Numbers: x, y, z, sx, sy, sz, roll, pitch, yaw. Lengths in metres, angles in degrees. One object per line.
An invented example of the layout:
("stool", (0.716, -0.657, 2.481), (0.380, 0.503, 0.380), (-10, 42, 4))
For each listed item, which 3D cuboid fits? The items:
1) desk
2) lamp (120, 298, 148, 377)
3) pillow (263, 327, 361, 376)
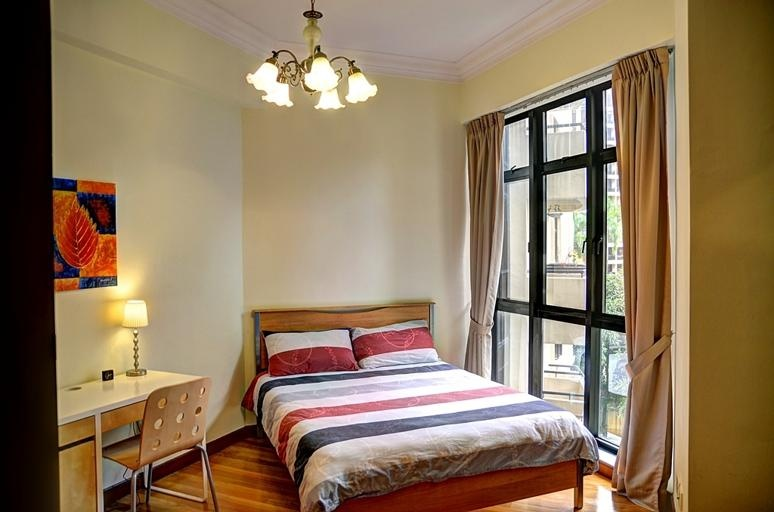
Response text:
("desk", (-1.376, 0.868, 2.715), (0.451, 0.492, 0.805), (1, 8, 24))
("lamp", (-1.405, 0.450, 3.021), (0.141, 0.431, 0.276), (-6, 8, -25))
("pillow", (-0.560, 0.662, 3.811), (0.486, 0.140, 0.312), (1, 46, -16))
